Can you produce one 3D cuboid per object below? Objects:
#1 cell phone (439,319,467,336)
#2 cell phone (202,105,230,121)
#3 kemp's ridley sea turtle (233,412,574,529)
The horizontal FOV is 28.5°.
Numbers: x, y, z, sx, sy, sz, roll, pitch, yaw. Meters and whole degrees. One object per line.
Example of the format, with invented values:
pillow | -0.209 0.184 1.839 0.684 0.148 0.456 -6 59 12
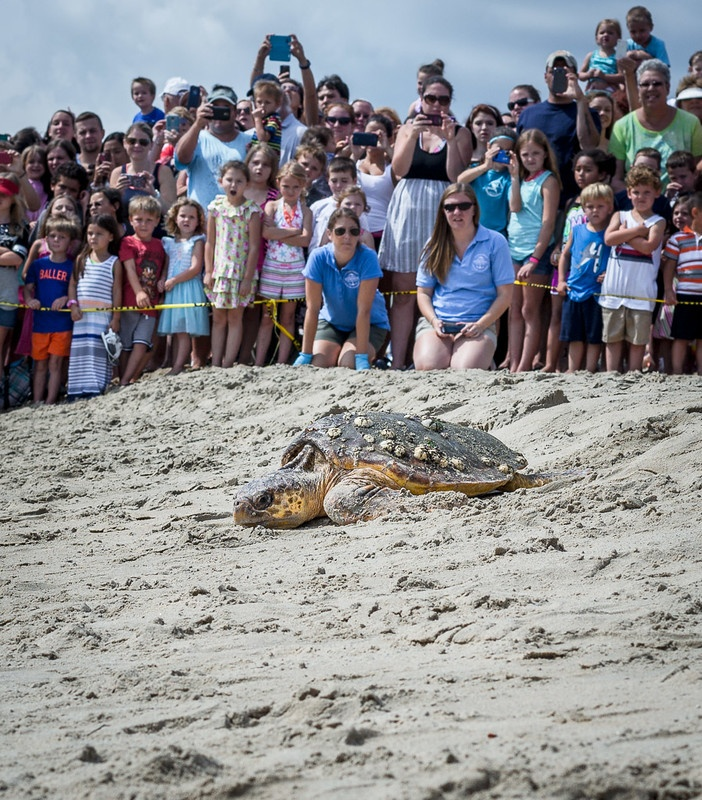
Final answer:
cell phone | 0.672 -0.480 9.122 0.133 0.075 0.225 0 -2 1
cell phone | -1.024 -2.215 10.639 0.226 0.133 0.115 -2 6 -16
kemp's ridley sea turtle | 0.094 0.342 6.547 1.125 0.293 0.724 -4 -6 -15
